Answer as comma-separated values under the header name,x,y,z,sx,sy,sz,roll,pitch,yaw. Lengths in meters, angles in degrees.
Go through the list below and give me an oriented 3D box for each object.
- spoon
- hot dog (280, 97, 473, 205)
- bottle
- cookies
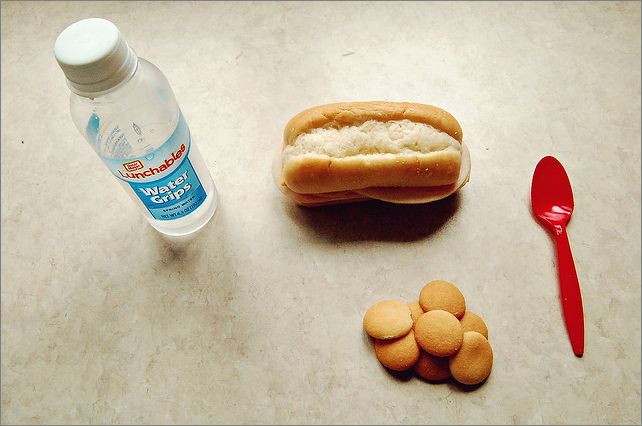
name,x,y,z,sx,sy,sz,roll,pitch,yaw
spoon,0.576,0.095,1.493,0.102,0.073,0.524,-2,58,10
hot dog,0.121,-0.135,1.514,0.480,0.209,0.174,-3,50,3
bottle,-0.385,-0.139,1.476,0.211,0.604,0.220,-3,61,5
cookies,0.233,0.264,1.407,0.259,0.078,0.223,15,68,10
